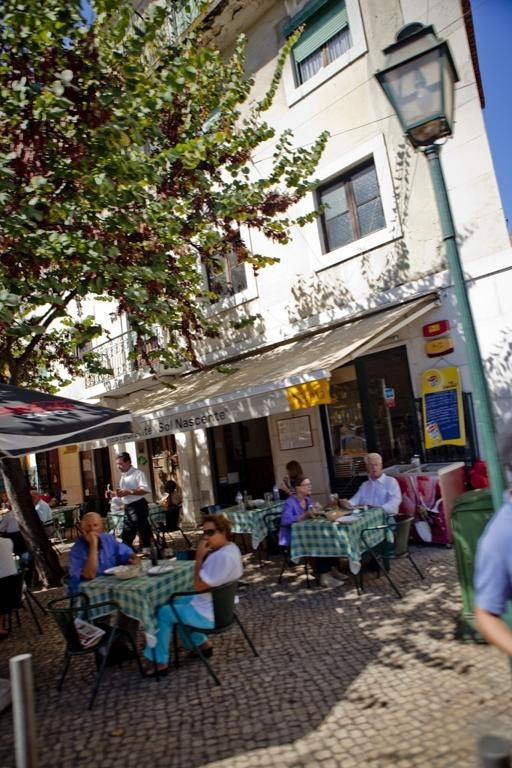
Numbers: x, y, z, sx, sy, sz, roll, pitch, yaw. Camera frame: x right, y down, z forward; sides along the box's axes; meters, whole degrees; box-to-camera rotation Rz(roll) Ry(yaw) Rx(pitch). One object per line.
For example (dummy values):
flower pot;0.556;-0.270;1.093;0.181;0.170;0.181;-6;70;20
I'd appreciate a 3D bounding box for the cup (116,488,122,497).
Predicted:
cup;-2.199;1.737;8.667;0.090;0.113;0.329;-7;-7;-16

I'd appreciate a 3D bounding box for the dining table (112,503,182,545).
dining table;-2.040;2.727;9.768;1.020;0.520;0.999;-2;0;-19

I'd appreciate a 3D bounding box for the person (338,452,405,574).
person;1.423;1.369;6.499;0.663;1.028;0.537;-15;-28;31

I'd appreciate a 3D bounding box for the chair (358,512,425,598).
chair;1.397;1.760;5.668;0.652;0.779;0.674;-5;1;-20

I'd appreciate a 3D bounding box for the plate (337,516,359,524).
plate;0.966;1.400;5.606;0.205;0.038;0.342;-12;-7;28

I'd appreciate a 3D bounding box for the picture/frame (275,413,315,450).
picture/frame;0.761;0.868;9.946;0.787;0.686;0.106;-12;-4;44

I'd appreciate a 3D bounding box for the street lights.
street lights;1.045;-0.880;2.916;0.455;1.903;0.665;-11;-7;18

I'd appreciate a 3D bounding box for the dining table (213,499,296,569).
dining table;-0.056;2.058;7.597;0.724;0.434;0.957;-1;-14;23

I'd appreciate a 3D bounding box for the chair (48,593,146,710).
chair;-1.271;2.055;4.284;0.587;0.741;0.503;-7;0;-41

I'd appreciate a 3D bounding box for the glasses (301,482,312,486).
glasses;0.610;1.215;6.576;0.155;0.043;0.150;-3;-8;21

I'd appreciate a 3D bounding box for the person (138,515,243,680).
person;-0.496;1.654;4.289;0.808;1.216;0.470;3;0;-10

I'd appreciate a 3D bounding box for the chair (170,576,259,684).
chair;-0.371;1.869;4.295;0.541;0.718;0.559;-4;4;34

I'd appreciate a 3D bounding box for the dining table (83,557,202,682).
dining table;-0.926;1.802;4.601;0.736;0.397;0.953;-6;-5;16

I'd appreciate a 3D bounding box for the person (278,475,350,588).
person;0.743;1.702;6.384;0.707;1.277;0.506;-26;-33;30

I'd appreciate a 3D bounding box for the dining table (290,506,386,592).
dining table;0.847;1.758;5.819;0.619;0.405;1.012;12;-17;-42
